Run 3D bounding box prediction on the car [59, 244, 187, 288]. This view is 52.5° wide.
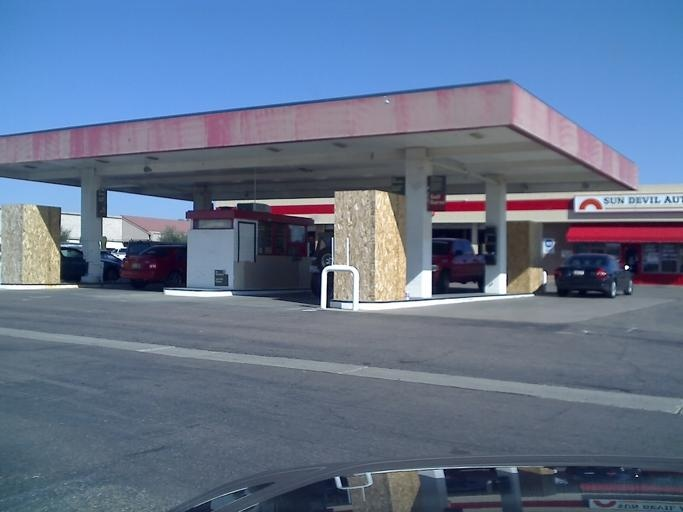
[{"bbox_3d":[-8.678,0.384,27.370,2.707,1.698,5.947,-2,3,-44],"label":"car"}]

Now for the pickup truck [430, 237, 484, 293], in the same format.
[{"bbox_3d":[3.928,0.260,23.762,1.322,1.103,2.375,-3,-6,32],"label":"pickup truck"}]

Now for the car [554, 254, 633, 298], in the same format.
[{"bbox_3d":[9.392,0.676,25.380,1.434,1.079,3.281,-1,-1,29],"label":"car"}]
